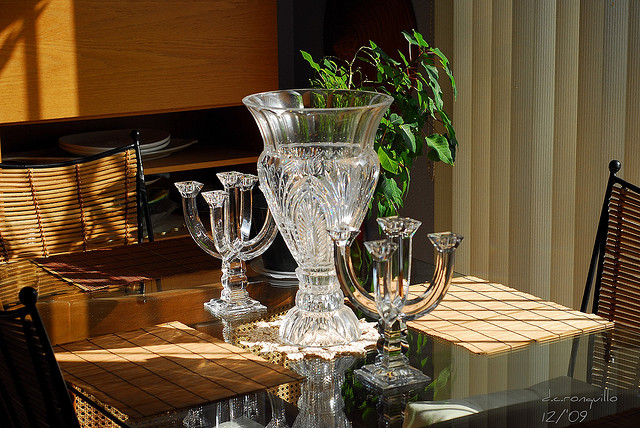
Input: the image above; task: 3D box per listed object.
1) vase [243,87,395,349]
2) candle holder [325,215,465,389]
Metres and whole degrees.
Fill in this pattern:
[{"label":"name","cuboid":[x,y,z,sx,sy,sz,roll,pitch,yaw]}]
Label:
[{"label":"vase","cuboid":[0.008,-0.005,1.017,0.228,0.460,0.249,6,13,39]},{"label":"candle holder","cuboid":[0.111,0.124,0.909,0.193,0.268,0.248,-3,10,-2]}]
